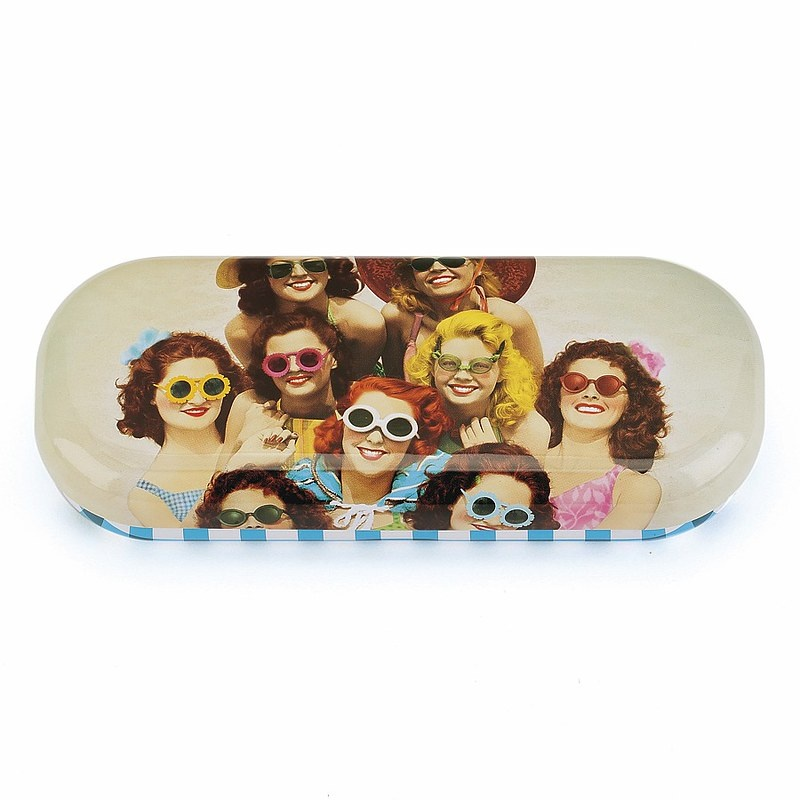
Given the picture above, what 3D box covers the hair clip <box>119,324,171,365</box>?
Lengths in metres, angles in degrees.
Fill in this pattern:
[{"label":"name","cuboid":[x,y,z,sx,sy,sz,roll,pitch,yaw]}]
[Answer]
[{"label":"hair clip","cuboid":[-0.761,-0.160,3.268,0.150,0.106,0.039,4,-35,23]}]
